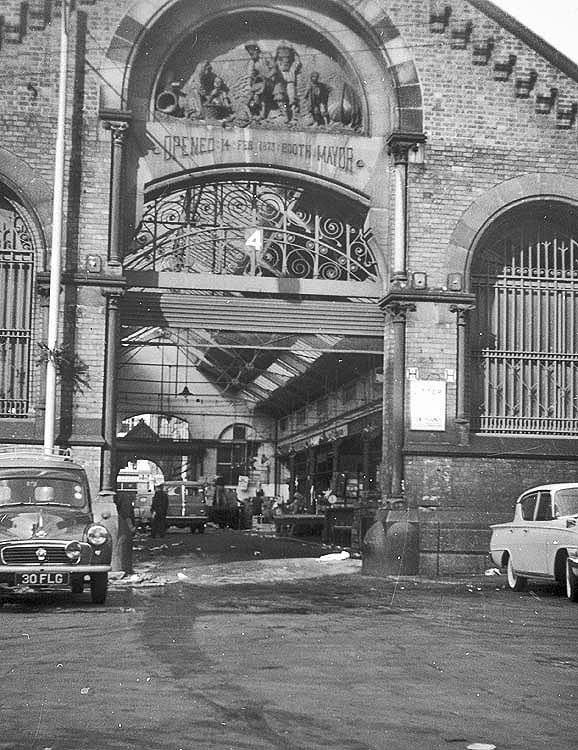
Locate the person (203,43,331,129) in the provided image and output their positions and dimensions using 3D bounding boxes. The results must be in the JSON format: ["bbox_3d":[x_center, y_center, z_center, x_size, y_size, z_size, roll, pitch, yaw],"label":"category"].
[{"bbox_3d":[-0.445,-4.672,25.854,1.283,0.958,0.405,1,-13,-11],"label":"person"}]

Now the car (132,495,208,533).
[{"bbox_3d":[-3.649,4.354,50.487,1.907,1.313,1.198,3,-9,-5],"label":"car"}]
